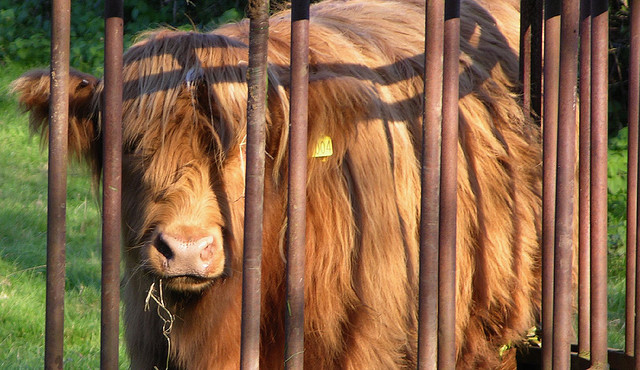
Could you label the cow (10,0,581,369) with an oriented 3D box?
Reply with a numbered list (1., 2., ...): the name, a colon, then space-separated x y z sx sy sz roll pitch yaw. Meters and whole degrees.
1. cow: 0.483 -0.012 8.888 2.239 3.308 4.437 1 3 28
